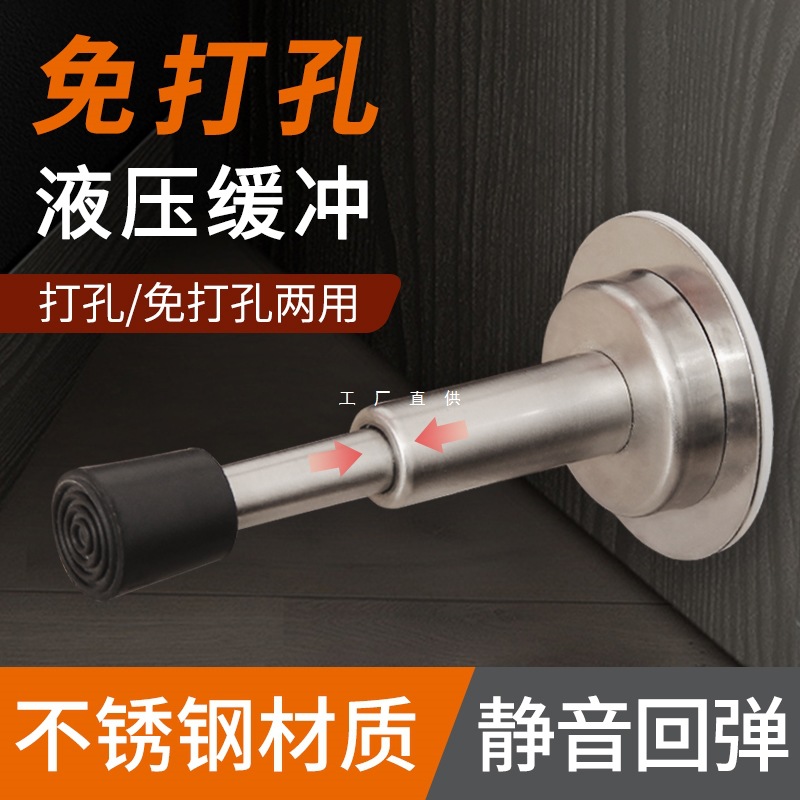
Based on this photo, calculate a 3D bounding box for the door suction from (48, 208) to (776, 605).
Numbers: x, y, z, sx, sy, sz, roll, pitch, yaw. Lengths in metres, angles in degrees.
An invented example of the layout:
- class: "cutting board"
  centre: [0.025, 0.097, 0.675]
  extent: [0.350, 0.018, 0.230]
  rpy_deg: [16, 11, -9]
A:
- class: "door suction"
  centre: [0.004, 0.012, 0.272]
  extent: [0.187, 0.100, 0.099]
  rpy_deg: [-14, -48, -22]
